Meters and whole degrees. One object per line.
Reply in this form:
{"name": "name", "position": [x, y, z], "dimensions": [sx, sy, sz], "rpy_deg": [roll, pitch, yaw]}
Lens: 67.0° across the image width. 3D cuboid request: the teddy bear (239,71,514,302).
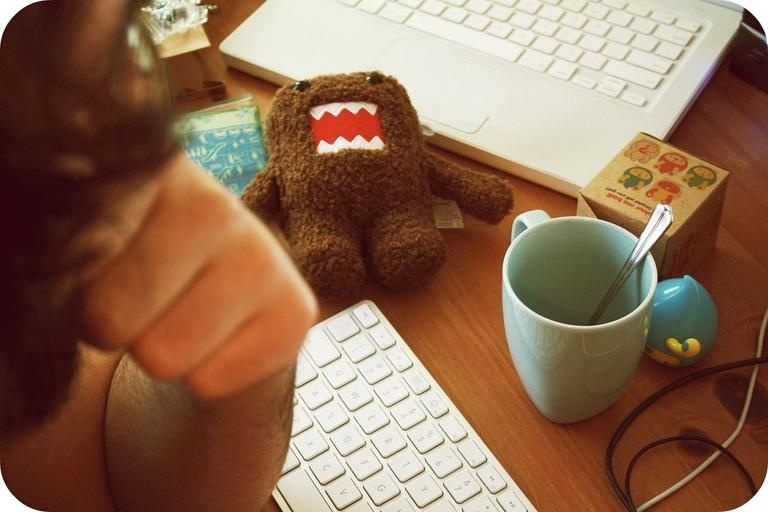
{"name": "teddy bear", "position": [-0.027, -0.061, 0.530], "dimensions": [0.269, 0.141, 0.204], "rpy_deg": [-8, 87, -9]}
